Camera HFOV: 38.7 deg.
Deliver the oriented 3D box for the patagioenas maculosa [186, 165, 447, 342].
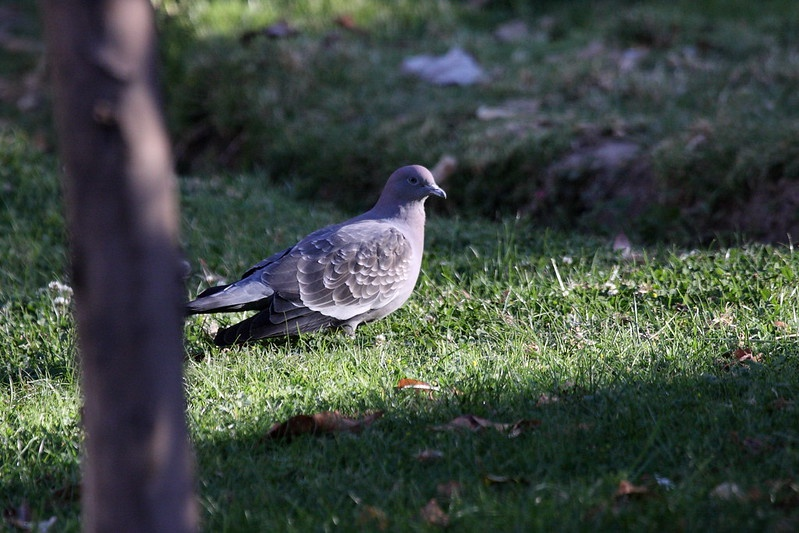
[{"bbox_3d":[-0.616,-0.009,8.687,2.330,1.720,0.870,0,1,-12],"label":"patagioenas maculosa"}]
